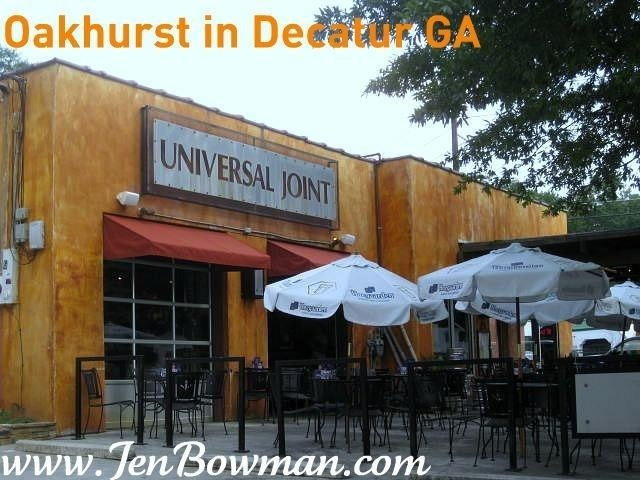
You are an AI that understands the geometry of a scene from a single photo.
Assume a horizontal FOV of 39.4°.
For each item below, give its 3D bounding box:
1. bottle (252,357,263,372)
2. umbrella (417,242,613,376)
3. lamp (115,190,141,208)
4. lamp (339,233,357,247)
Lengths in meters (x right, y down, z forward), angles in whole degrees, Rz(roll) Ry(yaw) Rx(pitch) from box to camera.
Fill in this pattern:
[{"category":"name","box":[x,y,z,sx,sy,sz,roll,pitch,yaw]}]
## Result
[{"category":"bottle","box":[-1.265,2.581,18.383,0.208,0.435,0.217,-1,1,0]},{"category":"umbrella","box":[2.989,1.174,14.082,1.958,1.579,2.164,0,-8,-17]},{"category":"lamp","box":[-3.647,-0.749,17.063,0.264,0.281,0.380,-21,-12,27]},{"category":"lamp","box":[0.660,0.017,21.670,0.243,0.257,0.338,-3,-5,34]}]
